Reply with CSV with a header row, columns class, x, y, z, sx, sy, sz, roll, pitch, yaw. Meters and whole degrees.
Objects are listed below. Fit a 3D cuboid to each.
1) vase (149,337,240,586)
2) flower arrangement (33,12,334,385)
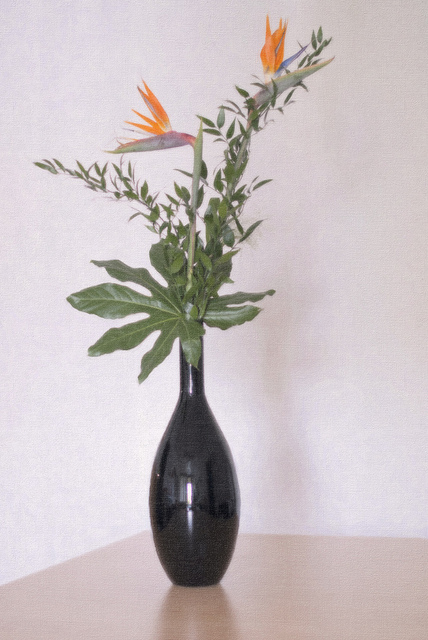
class,x,y,z,sx,sy,sz,roll,pitch,yaw
vase,-0.023,0.188,0.906,0.107,0.281,0.156,-6,-28,18
flower arrangement,-0.022,-0.135,0.941,0.332,0.406,0.276,-1,2,45
